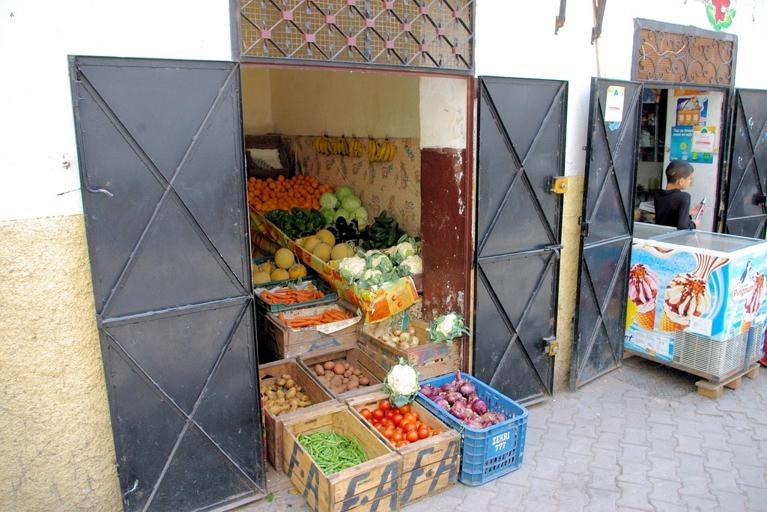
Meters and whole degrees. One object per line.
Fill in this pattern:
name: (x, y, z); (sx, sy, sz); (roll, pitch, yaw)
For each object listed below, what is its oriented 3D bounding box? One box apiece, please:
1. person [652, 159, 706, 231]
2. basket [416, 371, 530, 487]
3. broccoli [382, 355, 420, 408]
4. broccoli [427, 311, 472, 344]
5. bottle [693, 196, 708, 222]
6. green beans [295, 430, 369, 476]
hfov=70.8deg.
person: (3.756, -0.756, 7.038); (0.573, 0.872, 0.592); (-12, 28, -43)
basket: (0.854, 1.637, 5.349); (0.723, 0.545, 1.029); (-8, 14, -29)
broccoli: (0.141, 1.217, 5.397); (0.359, 0.388, 0.350); (-7, 28, -27)
broccoli: (0.671, 0.757, 5.679); (0.304, 0.114, 0.356); (-17, 44, 18)
bottle: (4.392, -0.648, 7.495); (0.058, 0.398, 0.055); (28, -8, 4)
green beans: (-0.468, 1.749, 4.954); (0.441, 0.196, 0.540); (-19, 23, -39)
